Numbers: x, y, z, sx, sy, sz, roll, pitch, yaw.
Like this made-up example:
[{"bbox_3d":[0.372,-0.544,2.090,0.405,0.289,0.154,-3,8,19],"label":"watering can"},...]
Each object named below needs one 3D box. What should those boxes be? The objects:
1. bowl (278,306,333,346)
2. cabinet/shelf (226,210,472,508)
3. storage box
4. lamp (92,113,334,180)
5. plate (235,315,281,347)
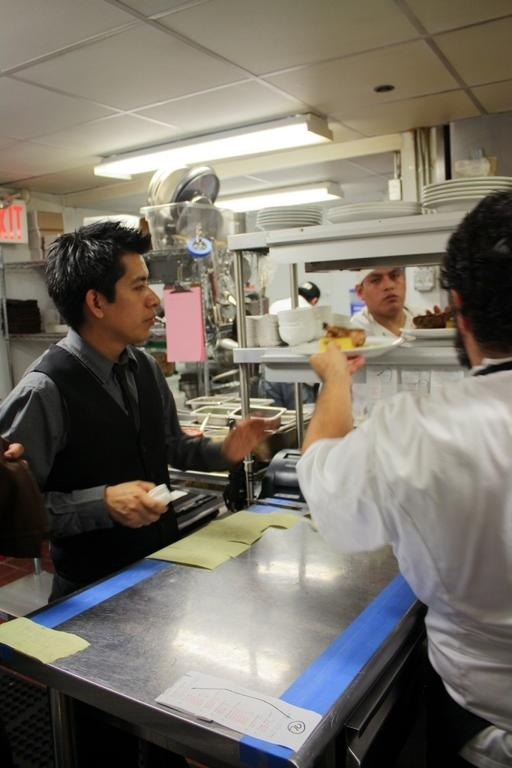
[{"bbox_3d":[0.152,-0.182,1.699,0.107,0.093,0.151,-6,7,34],"label":"bowl"},{"bbox_3d":[0.303,-0.092,1.823,0.768,0.706,0.572,-1,0,23],"label":"cabinet/shelf"},{"bbox_3d":[-0.365,-0.874,3.202,0.544,0.258,0.419,0,4,26],"label":"storage box"},{"bbox_3d":[-0.317,-1.638,3.959,1.766,0.174,0.594,0,4,33],"label":"lamp"},{"bbox_3d":[0.014,-0.184,1.943,0.184,0.133,0.102,6,12,43],"label":"plate"}]
